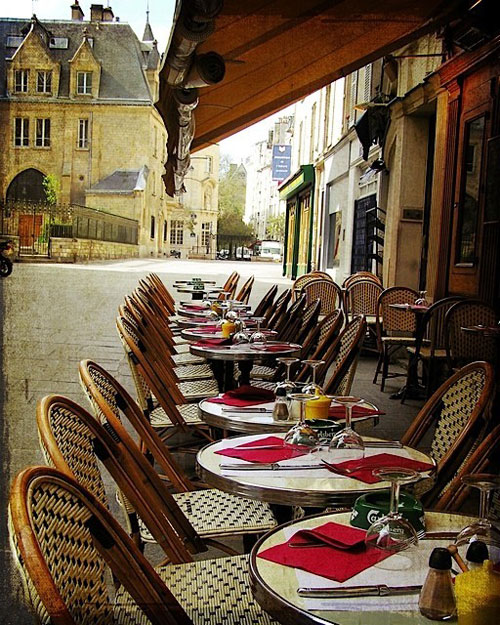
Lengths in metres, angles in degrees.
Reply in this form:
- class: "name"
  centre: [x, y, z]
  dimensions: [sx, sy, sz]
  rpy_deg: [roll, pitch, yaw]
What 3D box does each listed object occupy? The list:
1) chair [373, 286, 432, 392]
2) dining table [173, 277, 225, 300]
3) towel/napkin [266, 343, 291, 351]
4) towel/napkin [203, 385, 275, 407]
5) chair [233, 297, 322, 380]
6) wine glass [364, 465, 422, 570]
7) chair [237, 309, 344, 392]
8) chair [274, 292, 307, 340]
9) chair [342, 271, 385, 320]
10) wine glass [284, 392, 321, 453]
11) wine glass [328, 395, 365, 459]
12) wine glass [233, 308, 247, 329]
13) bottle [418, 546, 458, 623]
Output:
- class: "chair"
  centre: [1.852, 0.328, 8.283]
  dimensions: [0.683, 1.142, 0.734]
  rpy_deg: [0, -6, 33]
- class: "dining table"
  centre: [-0.871, -0.446, 12.085]
  dimensions: [0.804, 0.506, 0.798]
  rpy_deg: [-5, 12, -30]
- class: "towel/napkin"
  centre: [0.182, 0.212, 4.391]
  dimensions: [0.155, 0.029, 0.315]
  rpy_deg: [4, 3, 3]
- class: "towel/napkin"
  centre: [-0.059, 0.394, 3.303]
  dimensions: [0.219, 0.045, 0.214]
  rpy_deg: [0, -2, -34]
- class: "chair"
  centre: [0.233, 0.179, 5.956]
  dimensions: [0.679, 1.001, 0.595]
  rpy_deg: [3, 9, -7]
- class: "wine glass"
  centre: [0.276, 0.372, 1.282]
  dimensions: [0.097, 0.154, 0.104]
  rpy_deg: [-3, -2, -9]
- class: "chair"
  centre: [0.278, 0.268, 4.874]
  dimensions: [0.626, 0.912, 0.570]
  rpy_deg: [4, 9, 0]
- class: "chair"
  centre: [0.391, 0.059, 6.670]
  dimensions: [0.381, 0.550, 0.327]
  rpy_deg: [0, 3, -9]
- class: "chair"
  centre: [1.560, -0.233, 9.363]
  dimensions: [0.554, 0.905, 0.654]
  rpy_deg: [1, 19, 6]
- class: "wine glass"
  centre: [0.151, 0.356, 2.183]
  dimensions: [0.142, 0.200, 0.134]
  rpy_deg: [0, -4, -3]
- class: "wine glass"
  centre: [0.310, 0.353, 2.155]
  dimensions: [0.134, 0.182, 0.123]
  rpy_deg: [6, -6, -40]
- class: "wine glass"
  centre: [-0.091, 0.043, 5.223]
  dimensions: [0.138, 0.176, 0.132]
  rpy_deg: [0, -1, -2]
- class: "bottle"
  centre: [0.291, 0.404, 1.049]
  dimensions: [0.054, 0.125, 0.095]
  rpy_deg: [5, 4, 15]
